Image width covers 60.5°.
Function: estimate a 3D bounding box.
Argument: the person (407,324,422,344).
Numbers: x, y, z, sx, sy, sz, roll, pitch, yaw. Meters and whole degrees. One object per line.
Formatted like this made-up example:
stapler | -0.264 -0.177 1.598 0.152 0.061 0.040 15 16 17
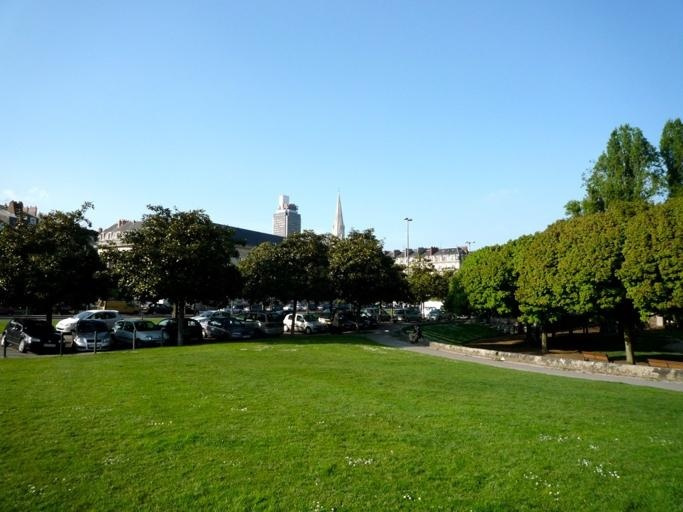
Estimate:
person | 5.229 5.608 41.394 0.745 0.904 1.421 -3 -8 22
